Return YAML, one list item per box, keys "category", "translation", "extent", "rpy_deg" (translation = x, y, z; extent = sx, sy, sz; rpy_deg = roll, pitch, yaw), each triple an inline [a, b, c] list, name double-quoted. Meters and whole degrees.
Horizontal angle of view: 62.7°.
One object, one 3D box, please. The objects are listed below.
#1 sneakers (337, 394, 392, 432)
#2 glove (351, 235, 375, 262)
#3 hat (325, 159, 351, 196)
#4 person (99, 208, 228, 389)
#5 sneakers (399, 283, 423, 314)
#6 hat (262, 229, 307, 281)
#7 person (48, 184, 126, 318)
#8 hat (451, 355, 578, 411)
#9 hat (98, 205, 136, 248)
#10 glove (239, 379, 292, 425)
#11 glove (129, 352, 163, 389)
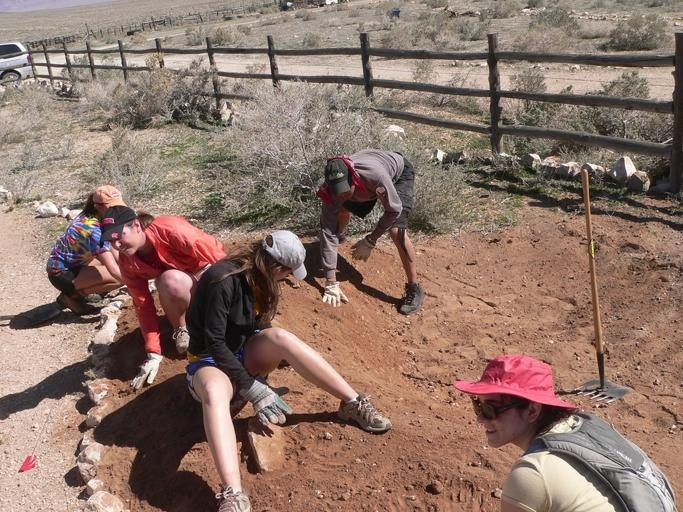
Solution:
- category: "sneakers"
  translation: [0.165, 1.023, 3.875]
  extent: [0.401, 0.204, 0.181]
  rpy_deg: [15, 34, 22]
- category: "glove"
  translation: [0.217, -0.064, 5.403]
  extent: [0.165, 0.323, 0.101]
  rpy_deg: [20, 29, 2]
- category: "hat"
  translation: [-0.023, -0.670, 4.792]
  extent: [0.214, 0.306, 0.261]
  rpy_deg: [-1, 21, 0]
- category: "person"
  translation: [-1.330, 0.151, 4.426]
  extent: [1.080, 1.184, 0.841]
  rpy_deg: [-24, 23, -25]
- category: "sneakers"
  translation: [0.689, 0.375, 5.417]
  extent: [0.154, 0.199, 0.358]
  rpy_deg: [11, 37, 32]
- category: "hat"
  translation: [-0.354, 0.019, 3.533]
  extent: [0.262, 0.334, 0.167]
  rpy_deg: [-5, 22, -9]
- category: "person"
  translation: [-2.462, -0.039, 5.772]
  extent: [0.976, 1.331, 0.635]
  rpy_deg: [5, 18, -24]
- category: "hat"
  translation: [0.811, 0.576, 2.674]
  extent: [0.351, 0.125, 0.316]
  rpy_deg: [8, -9, 16]
- category: "hat"
  translation: [-1.618, -0.222, 4.081]
  extent: [0.197, 0.171, 0.305]
  rpy_deg: [-12, 18, 29]
- category: "glove"
  translation: [-0.501, 0.937, 3.654]
  extent: [0.230, 0.357, 0.111]
  rpy_deg: [-44, 12, -14]
- category: "glove"
  translation: [-1.500, 0.898, 4.360]
  extent: [0.114, 0.266, 0.280]
  rpy_deg: [37, -17, -33]
